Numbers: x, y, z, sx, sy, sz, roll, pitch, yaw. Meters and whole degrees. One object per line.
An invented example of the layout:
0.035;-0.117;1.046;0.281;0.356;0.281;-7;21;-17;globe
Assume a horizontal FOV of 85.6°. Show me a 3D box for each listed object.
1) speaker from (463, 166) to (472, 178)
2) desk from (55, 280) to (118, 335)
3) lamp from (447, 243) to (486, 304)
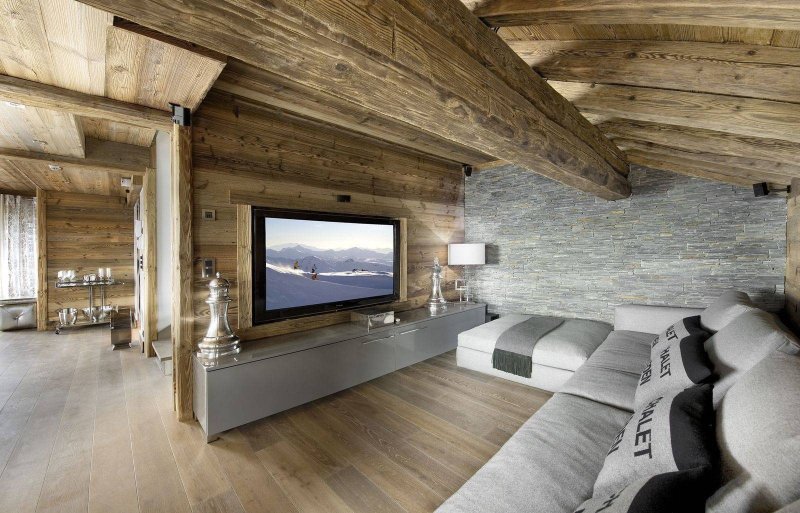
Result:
0.991;-1.279;6.467;0.108;0.162;0.140;-2;1;-27;speaker
-5.184;0.779;7.095;0.756;0.785;1.067;-2;1;-34;desk
0.950;0.232;6.231;0.605;0.879;0.557;0;1;36;lamp
